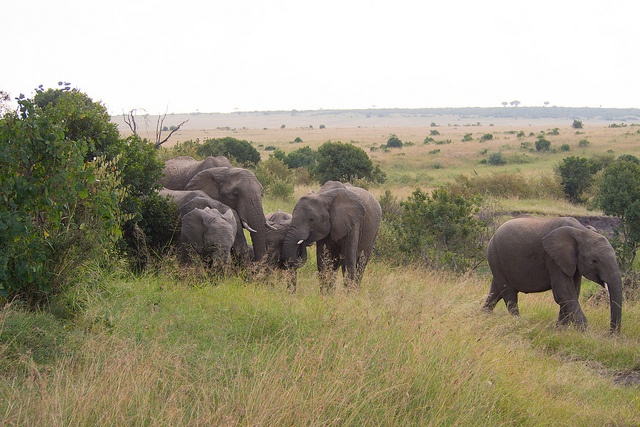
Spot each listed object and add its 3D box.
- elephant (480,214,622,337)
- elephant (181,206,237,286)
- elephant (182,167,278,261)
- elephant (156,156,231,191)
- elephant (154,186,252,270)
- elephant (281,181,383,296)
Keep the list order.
[{"bbox_3d":[4.597,1.221,11.954,2.756,2.132,1.269,2,7,37],"label":"elephant"},{"bbox_3d":[-2.071,0.511,11.391,0.728,0.942,1.490,1,-3,-25],"label":"elephant"},{"bbox_3d":[-2.171,-0.091,13.483,1.687,2.050,3.156,-8,15,-40],"label":"elephant"},{"bbox_3d":[-2.998,-0.998,14.317,1.866,1.003,0.863,-4,4,17],"label":"elephant"},{"bbox_3d":[-2.364,0.240,12.170,1.034,1.363,2.428,-3,4,-37],"label":"elephant"},{"bbox_3d":[0.346,0.467,12.508,1.456,2.269,2.683,8,7,43],"label":"elephant"}]
